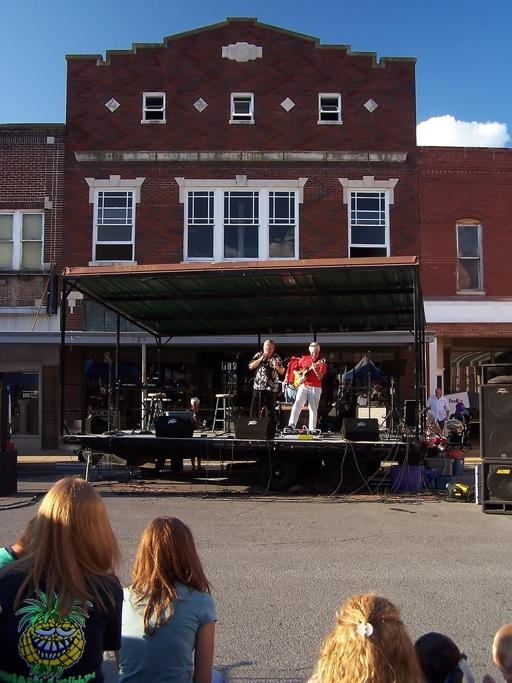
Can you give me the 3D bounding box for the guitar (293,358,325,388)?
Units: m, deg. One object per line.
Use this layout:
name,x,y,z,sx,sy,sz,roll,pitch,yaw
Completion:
guitar,0.776,0.441,14.387,0.343,0.463,0.842,4,-10,-24

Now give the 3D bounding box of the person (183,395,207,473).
person,-1.026,1.429,17.340,0.345,0.365,1.062,8,-49,2

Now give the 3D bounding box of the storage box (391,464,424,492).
storage box,2.064,1.861,13.621,0.385,0.282,0.380,0,-8,3

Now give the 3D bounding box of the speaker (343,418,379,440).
speaker,1.396,1.199,13.363,0.478,0.305,0.221,0,-9,4

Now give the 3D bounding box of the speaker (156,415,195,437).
speaker,-1.129,1.178,13.939,0.435,0.265,0.301,1,1,11

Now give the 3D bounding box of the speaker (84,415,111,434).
speaker,-2.308,1.227,14.566,0.311,0.278,0.479,2,-9,-9

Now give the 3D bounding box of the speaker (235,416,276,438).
speaker,-0.035,1.177,13.445,0.512,0.320,0.370,0,-9,4
